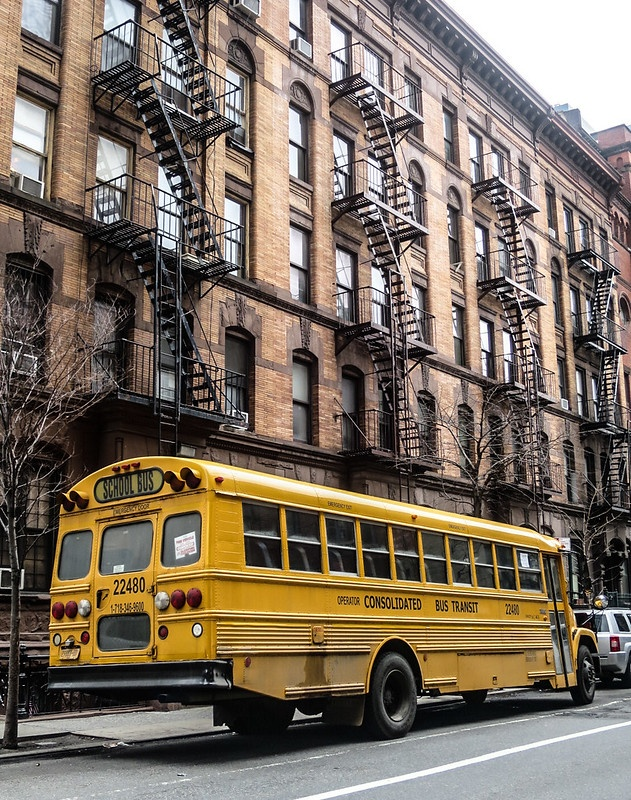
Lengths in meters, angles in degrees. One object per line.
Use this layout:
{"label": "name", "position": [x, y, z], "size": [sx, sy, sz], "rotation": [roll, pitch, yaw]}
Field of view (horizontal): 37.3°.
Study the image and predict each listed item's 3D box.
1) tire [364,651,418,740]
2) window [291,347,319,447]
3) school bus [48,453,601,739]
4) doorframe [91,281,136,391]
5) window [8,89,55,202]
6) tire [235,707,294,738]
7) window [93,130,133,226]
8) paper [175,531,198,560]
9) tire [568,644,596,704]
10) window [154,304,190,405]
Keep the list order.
{"label": "tire", "position": [0.862, 3.493, 11.034], "size": [0.262, 0.863, 0.813], "rotation": [-7, -34, 29]}
{"label": "window", "position": [-0.407, 0.052, 22.770], "size": [0.744, 2.167, 0.120], "rotation": [10, -17, -37]}
{"label": "school bus", "position": [1.416, 2.996, 13.020], "size": [2.518, 3.052, 9.303], "rotation": [-7, -14, 40]}
{"label": "doorframe", "position": [-3.881, -1.054, 17.590], "size": [0.843, 2.207, 0.188], "rotation": [3, 5, 13]}
{"label": "window", "position": [-5.168, -4.583, 16.950], "size": [0.147, 1.953, 0.859], "rotation": [-8, -13, 40]}
{"label": "tire", "position": [-0.638, 3.958, 11.525], "size": [0.586, 0.443, 0.602], "rotation": [5, -16, -10]}
{"label": "window", "position": [-3.949, -4.209, 18.152], "size": [0.437, 2.216, 1.253], "rotation": [-5, -16, 10]}
{"label": "paper", "position": [-1.241, 1.412, 9.069], "size": [0.017, 0.194, 0.216], "rotation": [16, -31, -40]}
{"label": "tire", "position": [4.474, 4.600, 15.723], "size": [0.324, 0.891, 0.914], "rotation": [-9, 12, 23]}
{"label": "window", "position": [-2.758, -0.891, 17.660], "size": [0.460, 2.255, 0.602], "rotation": [9, -32, -23]}
